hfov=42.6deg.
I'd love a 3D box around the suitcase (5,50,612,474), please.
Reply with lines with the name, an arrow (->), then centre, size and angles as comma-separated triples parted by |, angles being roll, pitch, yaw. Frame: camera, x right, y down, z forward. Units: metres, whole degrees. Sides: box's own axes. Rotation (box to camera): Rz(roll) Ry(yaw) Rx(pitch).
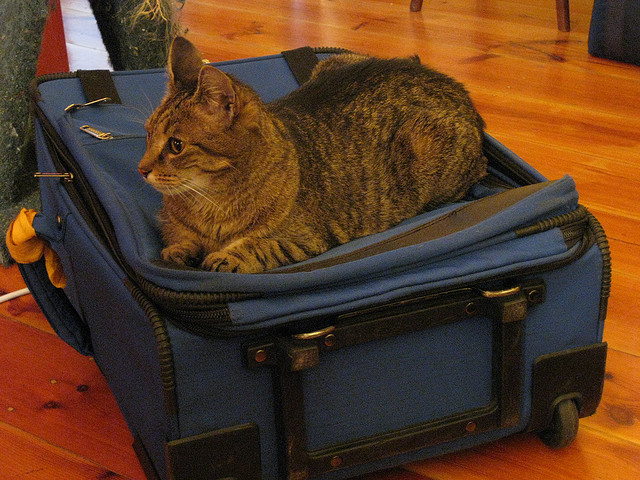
suitcase -> -0.051, -0.124, 1.225 | 0.804, 0.345, 0.762 | -11, 35, -19

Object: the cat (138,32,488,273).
cat -> -0.008, -0.181, 1.459 | 0.661, 0.307, 0.413 | -22, 29, -32
